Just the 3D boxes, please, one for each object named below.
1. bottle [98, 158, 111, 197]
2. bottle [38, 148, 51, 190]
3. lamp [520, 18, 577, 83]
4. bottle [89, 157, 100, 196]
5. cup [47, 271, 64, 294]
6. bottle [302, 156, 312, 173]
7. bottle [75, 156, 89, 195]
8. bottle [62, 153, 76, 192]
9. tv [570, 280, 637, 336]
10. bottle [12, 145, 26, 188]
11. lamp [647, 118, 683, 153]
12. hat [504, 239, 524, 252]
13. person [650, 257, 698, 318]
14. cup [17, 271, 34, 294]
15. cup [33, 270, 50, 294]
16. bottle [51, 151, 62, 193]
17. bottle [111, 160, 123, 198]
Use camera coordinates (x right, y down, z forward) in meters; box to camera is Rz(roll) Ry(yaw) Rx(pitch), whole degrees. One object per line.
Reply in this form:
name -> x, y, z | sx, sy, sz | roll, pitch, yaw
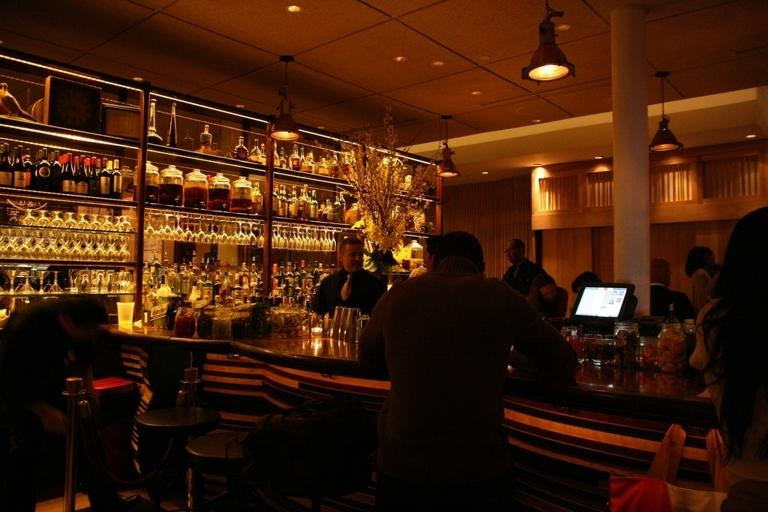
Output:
bottle -> -2.739, -0.760, 6.147 | 0.098, 0.348, 0.101 | 2, -3, 0
bottle -> -3.203, -0.791, 5.878 | 0.118, 0.347, 0.087 | 1, -3, 13
lamp -> 1.418, -1.816, 5.428 | 0.409, 0.503, 0.375 | 0, -4, 35
bottle -> -2.835, -0.772, 6.116 | 0.107, 0.376, 0.141 | 4, -4, -37
cup -> -3.061, 0.250, 5.948 | 0.176, 0.179, 0.172 | 0, -3, 0
bottle -> -0.945, -1.133, 7.763 | 0.175, 0.188, 0.171 | 0, -3, -3
bottle -> -2.925, -0.773, 6.063 | 0.104, 0.370, 0.196 | 4, -4, -37
bottle -> -3.029, -0.779, 6.023 | 0.125, 0.374, 0.262 | 4, -4, -29
tv -> 1.583, 0.350, 4.565 | 0.397, 0.306, 0.197 | -1, -4, 45
bottle -> -3.405, -0.833, 5.851 | 0.126, 0.433, 0.332 | 4, -4, -31
lamp -> 3.116, -1.386, 6.955 | 0.270, 0.404, 0.326 | 0, -4, 30
hat -> 1.728, -0.134, 8.306 | 0.173, 0.198, 0.207 | 7, 0, 42
person -> 3.199, 0.344, 6.907 | 0.721, 0.576, 0.366 | -3, 15, 31
cup -> -3.315, 0.256, 5.776 | 0.176, 0.172, 0.172 | 0, -1, 0
cup -> -3.198, 0.242, 5.867 | 0.130, 0.212, 0.061 | 4, -4, -32
bottle -> -3.106, -0.782, 5.954 | 0.101, 0.348, 0.114 | 3, -3, -13
bottle -> -2.676, -0.772, 6.262 | 0.103, 0.389, 0.208 | 3, -3, -20
